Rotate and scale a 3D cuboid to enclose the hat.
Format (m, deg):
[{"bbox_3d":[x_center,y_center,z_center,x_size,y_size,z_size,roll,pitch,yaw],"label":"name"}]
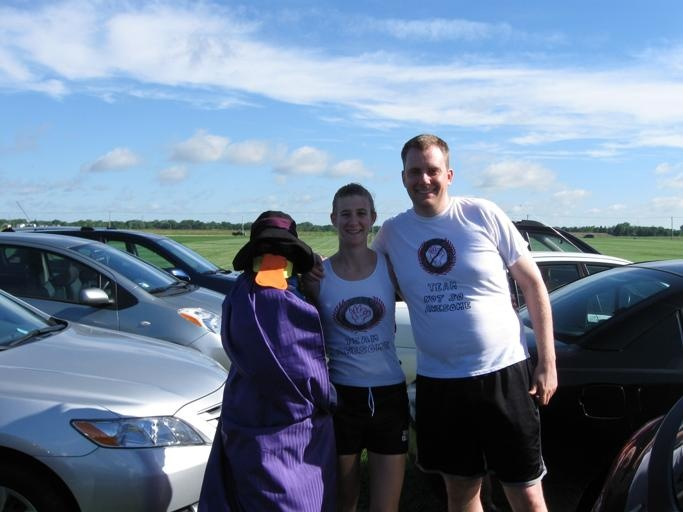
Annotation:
[{"bbox_3d":[-0.370,-0.048,2.789,0.446,0.255,0.427,1,0,-8],"label":"hat"}]
